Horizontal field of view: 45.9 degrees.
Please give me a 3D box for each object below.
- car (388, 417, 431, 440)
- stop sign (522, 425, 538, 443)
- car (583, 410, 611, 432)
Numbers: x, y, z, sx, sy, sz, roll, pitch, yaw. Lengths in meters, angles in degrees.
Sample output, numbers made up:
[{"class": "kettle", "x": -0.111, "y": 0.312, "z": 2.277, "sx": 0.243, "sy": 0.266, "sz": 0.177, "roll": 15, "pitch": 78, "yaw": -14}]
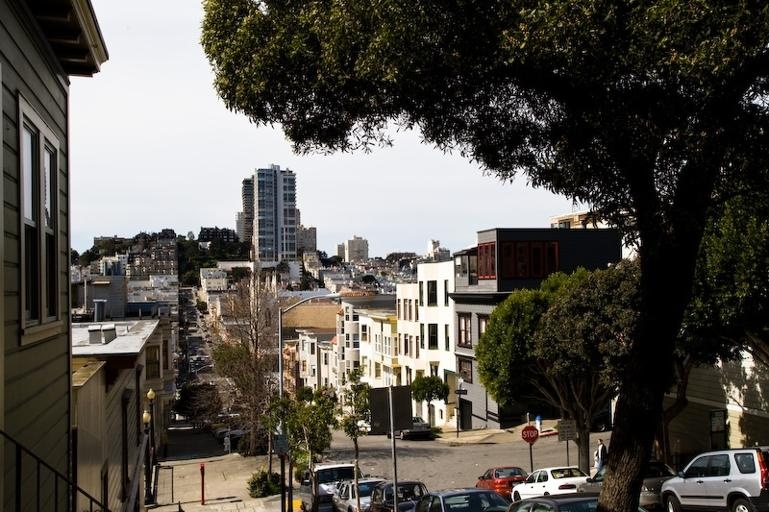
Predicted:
[{"class": "car", "x": 1.975, "y": 10.227, "z": 53.864, "sx": 1.807, "sy": 1.324, "sz": 2.814, "roll": 1, "pitch": -8, "yaw": -19}, {"class": "stop sign", "x": 5.518, "y": 6.739, "z": 34.145, "sx": 0.470, "sy": 0.733, "sz": 1.164, "roll": -3, "pitch": -8, "yaw": 15}, {"class": "car", "x": 11.577, "y": 8.774, "z": 48.234, "sx": 0.810, "sy": 1.103, "sz": 2.327, "roll": -1, "pitch": -8, "yaw": -1}]
